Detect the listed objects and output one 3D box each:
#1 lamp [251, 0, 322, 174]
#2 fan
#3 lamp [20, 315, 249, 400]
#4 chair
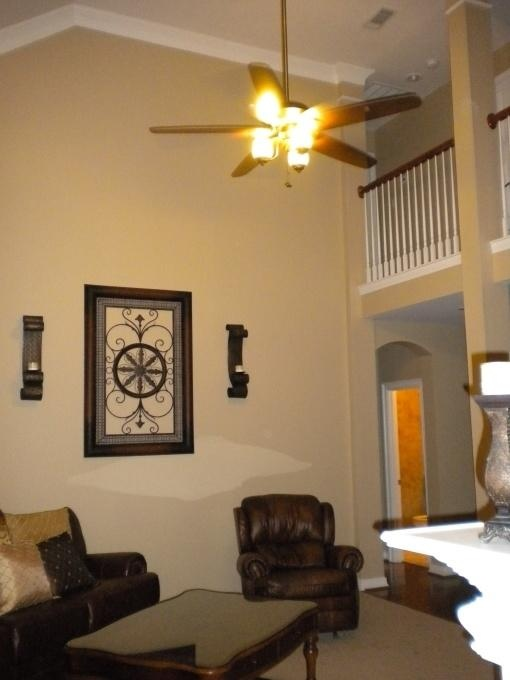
[{"bbox_3d":[0.150,-1.465,3.632,0.373,1.143,0.491,-3,-8,3],"label":"lamp"},{"bbox_3d":[0.156,-2.118,5.532,1.578,1.532,1.624,9,-14,-35],"label":"fan"},{"bbox_3d":[-0.920,0.149,5.324,1.780,0.623,0.253,1,-9,-25],"label":"lamp"},{"bbox_3d":[0.278,1.657,5.040,0.902,0.953,0.933,0,-14,-13],"label":"chair"}]
